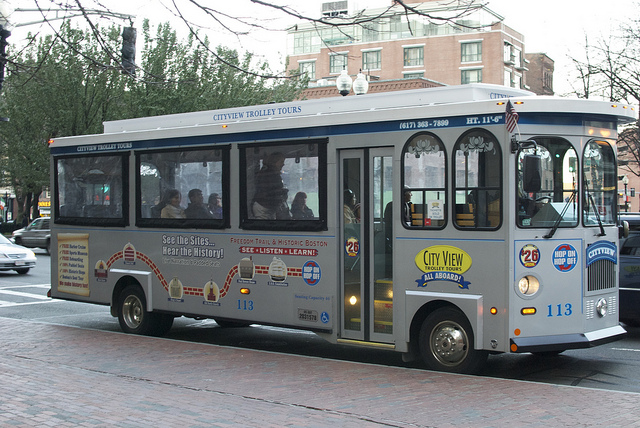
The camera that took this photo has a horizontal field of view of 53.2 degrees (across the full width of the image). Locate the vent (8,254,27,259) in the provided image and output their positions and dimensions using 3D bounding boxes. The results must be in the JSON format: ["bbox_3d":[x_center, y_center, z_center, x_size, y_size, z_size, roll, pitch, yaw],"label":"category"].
[{"bbox_3d":[-11.888,1.662,25.078,0.124,0.181,0.742,-33,-21,34],"label":"vent"}]

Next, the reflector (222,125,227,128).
[{"bbox_3d":[-1.827,-1.682,12.217,0.039,0.047,0.008,8,-2,15],"label":"reflector"}]

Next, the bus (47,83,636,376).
[{"bbox_3d":[0.291,0.435,11.309,11.184,5.683,3.740,0,0,21],"label":"bus"}]

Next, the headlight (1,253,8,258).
[{"bbox_3d":[-12.292,1.625,24.843,0.196,0.142,0.173,0,1,-27],"label":"headlight"}]

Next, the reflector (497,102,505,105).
[{"bbox_3d":[2.730,-1.670,9.661,0.101,0.023,0.011,0,1,30],"label":"reflector"}]

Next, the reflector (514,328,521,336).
[{"bbox_3d":[2.945,1.765,9.544,0.105,0.095,0.008,0,1,-19],"label":"reflector"}]

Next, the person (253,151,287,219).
[{"bbox_3d":[-0.894,-0.533,11.675,0.521,0.982,1.001,-2,16,-16],"label":"person"}]

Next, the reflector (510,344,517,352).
[{"bbox_3d":[2.871,1.989,9.486,0.098,0.102,0.023,8,-1,18],"label":"reflector"}]

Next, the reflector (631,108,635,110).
[{"bbox_3d":[5.126,-1.726,10.484,0.043,0.022,0.043,3,6,7],"label":"reflector"}]

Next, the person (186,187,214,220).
[{"bbox_3d":[-2.404,-0.183,12.801,0.424,0.664,0.776,-9,-10,1],"label":"person"}]

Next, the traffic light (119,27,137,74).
[{"bbox_3d":[-3.426,-2.918,11.433,0.255,1.003,1.033,0,1,-18],"label":"traffic light"}]
